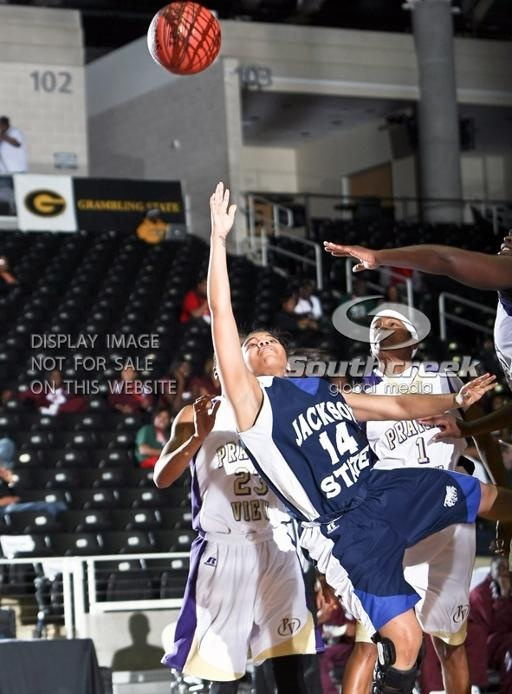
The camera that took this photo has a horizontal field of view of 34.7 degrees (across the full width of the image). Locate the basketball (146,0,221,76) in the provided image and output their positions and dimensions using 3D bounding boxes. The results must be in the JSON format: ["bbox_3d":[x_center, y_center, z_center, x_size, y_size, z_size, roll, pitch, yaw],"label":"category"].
[{"bbox_3d":[-0.318,-1.361,3.596,0.309,0.239,0.189,-5,-3,-2],"label":"basketball"}]
